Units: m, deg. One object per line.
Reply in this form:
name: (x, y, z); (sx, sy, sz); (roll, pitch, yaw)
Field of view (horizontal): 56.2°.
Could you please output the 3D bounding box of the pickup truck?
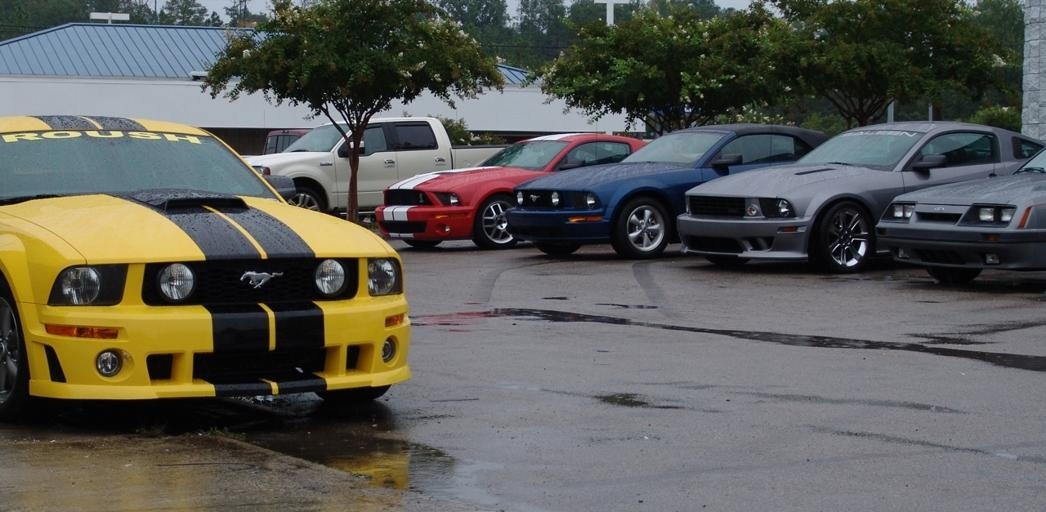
pickup truck: (-3.797, -2.088, 24.069); (6.266, 1.869, 2.769); (-1, 4, -29)
